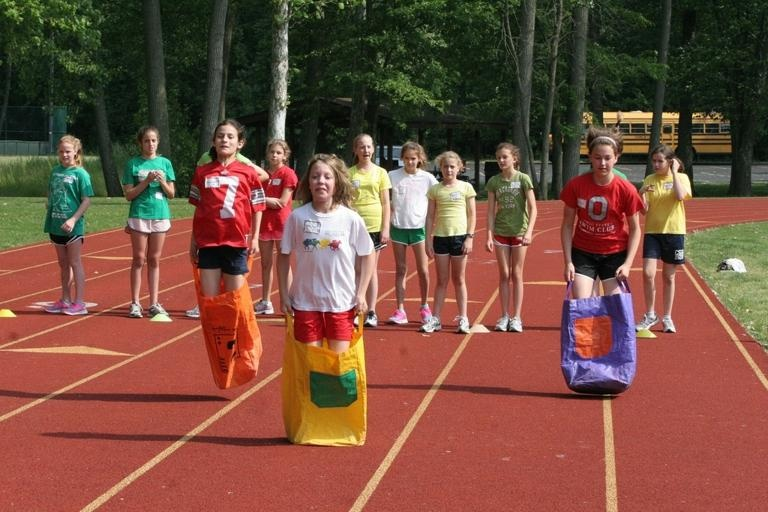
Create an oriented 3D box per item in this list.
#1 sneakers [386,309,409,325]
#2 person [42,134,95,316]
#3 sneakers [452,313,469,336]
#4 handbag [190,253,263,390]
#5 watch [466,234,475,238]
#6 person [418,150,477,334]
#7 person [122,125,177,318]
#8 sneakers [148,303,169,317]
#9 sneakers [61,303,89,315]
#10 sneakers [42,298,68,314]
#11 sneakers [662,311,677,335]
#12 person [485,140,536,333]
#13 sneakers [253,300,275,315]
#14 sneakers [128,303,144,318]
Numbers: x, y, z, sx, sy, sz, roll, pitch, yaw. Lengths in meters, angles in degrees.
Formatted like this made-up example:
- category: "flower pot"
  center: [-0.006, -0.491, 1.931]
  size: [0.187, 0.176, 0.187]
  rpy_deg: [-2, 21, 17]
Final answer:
- category: "sneakers"
  center: [0.194, 0.818, 10.281]
  size: [0.129, 0.147, 0.321]
  rpy_deg: [0, -4, 17]
- category: "person"
  center: [-4.260, -0.405, 10.477]
  size: [0.662, 2.348, 0.798]
  rpy_deg: [-4, 11, -23]
- category: "sneakers"
  center: [0.962, 0.882, 9.862]
  size: [0.193, 0.225, 0.472]
  rpy_deg: [-2, -8, 4]
- category: "handbag"
  center: [-1.450, 0.774, 7.341]
  size: [0.521, 0.906, 0.263]
  rpy_deg: [-3, 11, -16]
- category: "watch"
  center: [1.036, -0.242, 9.515]
  size: [0.067, 0.035, 0.058]
  rpy_deg: [-4, -2, 36]
- category: "person"
  center: [0.785, -0.168, 9.743]
  size: [0.632, 2.235, 0.608]
  rpy_deg: [1, 10, 5]
- category: "person"
  center: [-3.121, -0.451, 10.415]
  size: [0.676, 2.523, 1.148]
  rpy_deg: [-3, 11, -18]
- category: "sneakers"
  center: [-3.017, 0.724, 10.317]
  size: [0.140, 0.174, 0.404]
  rpy_deg: [-5, -2, -41]
- category: "sneakers"
  center: [-4.115, 0.711, 10.383]
  size: [0.316, 0.137, 0.131]
  rpy_deg: [2, 8, -9]
- category: "sneakers"
  center: [-4.462, 0.691, 10.549]
  size: [0.494, 0.206, 0.193]
  rpy_deg: [2, 1, 21]
- category: "sneakers"
  center: [3.590, 0.848, 9.822]
  size: [0.114, 0.135, 0.321]
  rpy_deg: [-3, 22, 9]
- category: "person"
  center: [1.603, -0.235, 9.988]
  size: [0.590, 2.403, 1.128]
  rpy_deg: [2, 11, 9]
- category: "sneakers"
  center: [-1.620, 0.704, 10.508]
  size: [0.347, 0.165, 0.126]
  rpy_deg: [2, 9, -6]
- category: "sneakers"
  center: [-3.277, 0.733, 10.279]
  size: [0.171, 0.167, 0.389]
  rpy_deg: [0, -4, -21]
